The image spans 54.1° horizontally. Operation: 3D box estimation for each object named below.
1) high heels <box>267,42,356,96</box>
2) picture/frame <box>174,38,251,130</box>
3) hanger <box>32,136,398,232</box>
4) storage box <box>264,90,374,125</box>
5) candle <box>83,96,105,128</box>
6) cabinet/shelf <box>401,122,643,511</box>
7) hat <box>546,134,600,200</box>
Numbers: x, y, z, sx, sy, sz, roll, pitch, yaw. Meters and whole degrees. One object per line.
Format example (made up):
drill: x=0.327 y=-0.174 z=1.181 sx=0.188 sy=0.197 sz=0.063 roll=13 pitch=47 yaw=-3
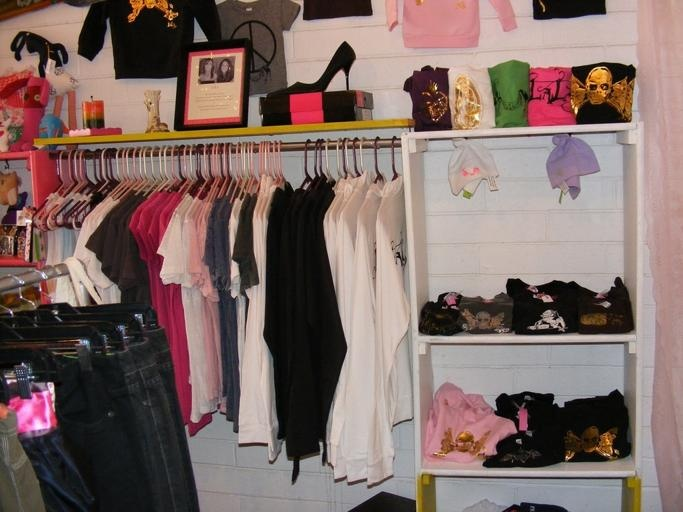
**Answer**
high heels: x=-0.139 y=-0.868 z=3.132 sx=0.396 sy=0.246 sz=0.139 roll=-5 pitch=-5 yaw=1
picture/frame: x=-0.602 y=-0.806 z=3.150 sx=0.406 sy=0.540 sz=0.083 roll=-1 pitch=-12 yaw=14
hanger: x=-0.639 y=-0.404 z=3.223 sx=1.631 sy=0.409 sz=0.542 roll=-4 pitch=5 yaw=7
storage box: x=-0.115 y=-0.676 z=3.046 sx=0.517 sy=0.164 sz=0.207 roll=-5 pitch=5 yaw=1
candle: x=-1.225 y=-0.702 z=3.294 sx=0.099 sy=0.157 sz=0.146 roll=-6 pitch=5 yaw=-21
cabinet/shelf: x=0.813 y=0.351 z=2.980 sx=0.989 sy=1.853 sz=0.522 roll=-3 pitch=5 yaw=11
hat: x=1.007 y=-0.405 z=2.995 sx=0.170 sy=0.282 sz=0.265 roll=-5 pitch=5 yaw=-10
